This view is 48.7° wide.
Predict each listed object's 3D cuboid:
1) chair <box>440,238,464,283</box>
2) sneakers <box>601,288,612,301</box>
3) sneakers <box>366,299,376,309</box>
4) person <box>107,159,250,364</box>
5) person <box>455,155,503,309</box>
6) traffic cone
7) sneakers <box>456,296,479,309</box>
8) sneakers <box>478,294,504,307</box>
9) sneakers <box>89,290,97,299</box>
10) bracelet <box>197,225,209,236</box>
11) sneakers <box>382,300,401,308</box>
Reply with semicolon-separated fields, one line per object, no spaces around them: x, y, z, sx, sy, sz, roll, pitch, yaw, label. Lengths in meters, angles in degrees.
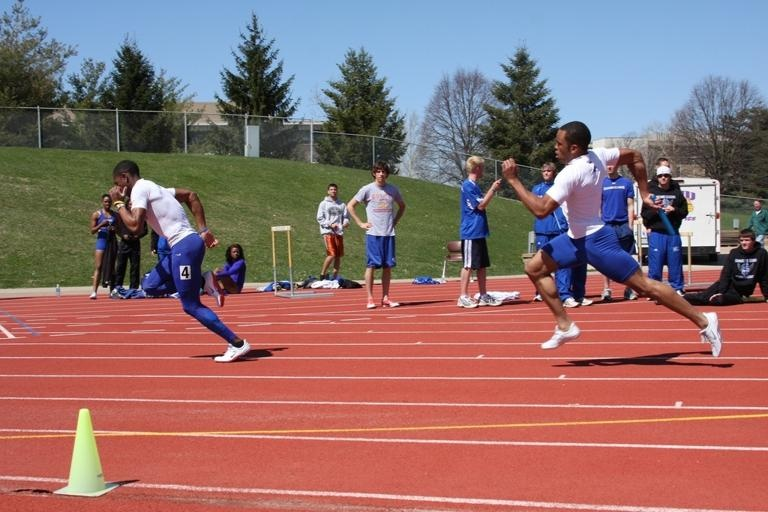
1.675;0.097;20.018;0.635;0.756;0.598;2;19;15;chair
3.888;0.676;14.814;0.146;0.131;0.339;0;-5;14;sneakers
-0.224;0.830;14.655;0.184;0.177;0.451;0;-5;-10;sneakers
-2.512;0.046;10.013;1.394;2.387;0.824;-7;-4;-26;person
1.505;-0.336;13.652;0.664;2.535;0.809;-2;11;4;person
-2.363;1.517;6.623;0.459;0.704;0.231;-6;11;-17;traffic cone
1.365;0.765;14.113;0.383;0.158;0.162;0;4;29;sneakers
1.774;0.737;14.204;0.433;0.165;0.171;-1;4;-2;sneakers
-6.220;0.827;18.156;0.121;0.104;0.265;0;-3;-8;sneakers
-2.129;-0.298;10.036;0.131;0.090;0.131;0;-2;-18;bracelet
0.140;0.816;14.508;0.325;0.127;0.127;2;4;26;sneakers
